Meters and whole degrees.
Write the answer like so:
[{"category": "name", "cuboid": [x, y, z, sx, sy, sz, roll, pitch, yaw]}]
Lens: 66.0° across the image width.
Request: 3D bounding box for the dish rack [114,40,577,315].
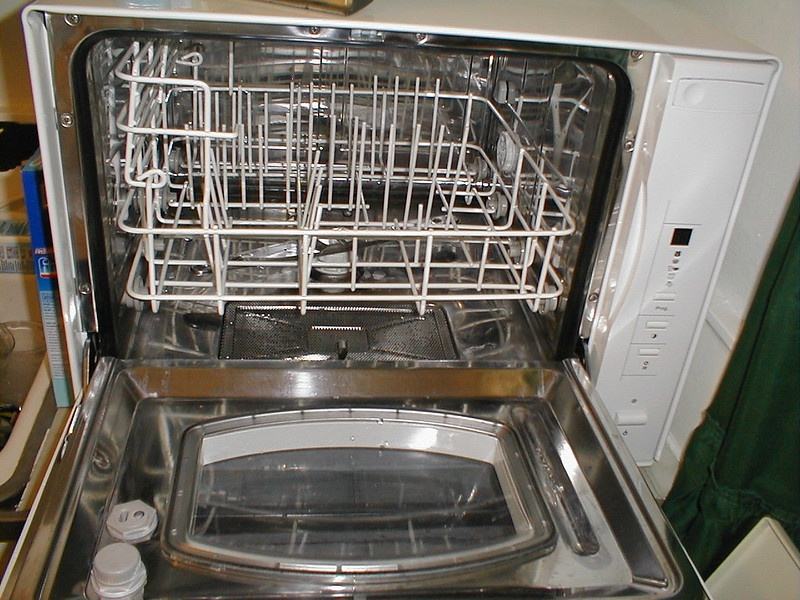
[{"category": "dish rack", "cuboid": [-0.085, -0.145, 1.271, 0.821, 0.340, 0.832, -4, -8, 8]}]
